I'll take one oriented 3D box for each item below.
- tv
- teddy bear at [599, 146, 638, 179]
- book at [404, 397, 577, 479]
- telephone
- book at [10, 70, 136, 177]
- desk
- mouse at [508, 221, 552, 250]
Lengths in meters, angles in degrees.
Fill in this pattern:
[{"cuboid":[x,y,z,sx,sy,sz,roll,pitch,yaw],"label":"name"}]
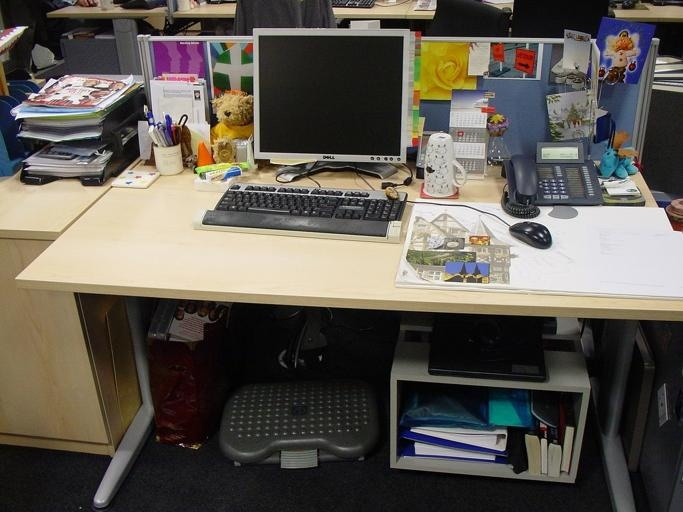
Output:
[{"cuboid":[-0.033,-0.530,1.782,0.558,0.449,0.042,3,19,4],"label":"tv"},{"cuboid":[0.943,-0.309,1.771,0.119,0.077,0.106,-18,27,-26],"label":"teddy bear"},{"cuboid":[0.496,0.606,1.701,0.412,0.127,0.311,3,37,8],"label":"book"},{"cuboid":[0.684,-0.268,1.690,0.329,0.109,0.269,-13,40,-11],"label":"telephone"},{"cuboid":[-0.952,-0.444,1.963,0.336,0.251,0.417,4,44,3],"label":"book"},{"cuboid":[0.001,0.060,1.731,1.676,0.811,0.918,3,46,5],"label":"desk"},{"cuboid":[0.546,-0.063,1.483,0.062,0.043,0.124,-23,39,-29],"label":"mouse"}]
